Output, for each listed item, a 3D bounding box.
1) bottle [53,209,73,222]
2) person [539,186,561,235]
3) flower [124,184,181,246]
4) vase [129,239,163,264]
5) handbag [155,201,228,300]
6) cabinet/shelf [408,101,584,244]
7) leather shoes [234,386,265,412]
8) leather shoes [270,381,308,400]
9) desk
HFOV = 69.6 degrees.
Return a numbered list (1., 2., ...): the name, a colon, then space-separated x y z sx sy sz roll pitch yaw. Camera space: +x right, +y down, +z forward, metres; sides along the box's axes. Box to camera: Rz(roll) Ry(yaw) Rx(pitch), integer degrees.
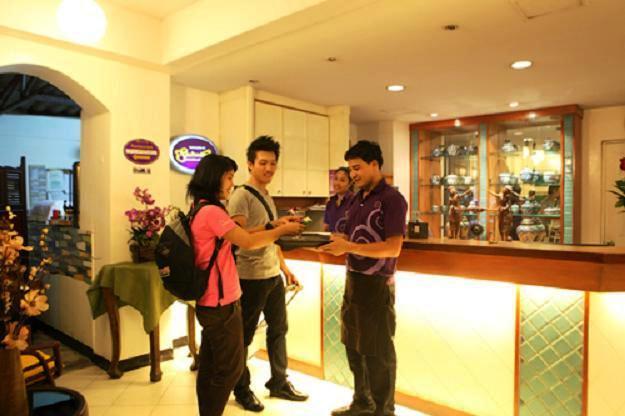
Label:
1. bottle: -3.384 0.101 6.063 0.513 0.171 0.150 -1 -3 21
2. person: 3.741 0.034 7.051 0.263 0.771 0.098 0 3 25
3. flower: -1.854 0.130 5.151 0.572 0.580 0.573 11 13 24
4. vase: -1.749 0.452 4.702 0.432 0.282 0.230 0 -2 -30
5. handbag: -1.065 0.353 3.972 0.726 1.026 0.727 3 -3 -26
6. cabinet/shelf: 2.921 -0.594 6.850 0.691 2.026 2.315 -2 1 -45
7. leather shoes: -0.630 1.814 4.330 0.364 0.157 0.133 1 -2 43
8. leather shoes: -0.230 1.807 4.473 0.421 0.167 0.146 1 -10 12
9. desk: -1.917 1.257 5.275 1.303 1.372 1.266 -3 -4 36
